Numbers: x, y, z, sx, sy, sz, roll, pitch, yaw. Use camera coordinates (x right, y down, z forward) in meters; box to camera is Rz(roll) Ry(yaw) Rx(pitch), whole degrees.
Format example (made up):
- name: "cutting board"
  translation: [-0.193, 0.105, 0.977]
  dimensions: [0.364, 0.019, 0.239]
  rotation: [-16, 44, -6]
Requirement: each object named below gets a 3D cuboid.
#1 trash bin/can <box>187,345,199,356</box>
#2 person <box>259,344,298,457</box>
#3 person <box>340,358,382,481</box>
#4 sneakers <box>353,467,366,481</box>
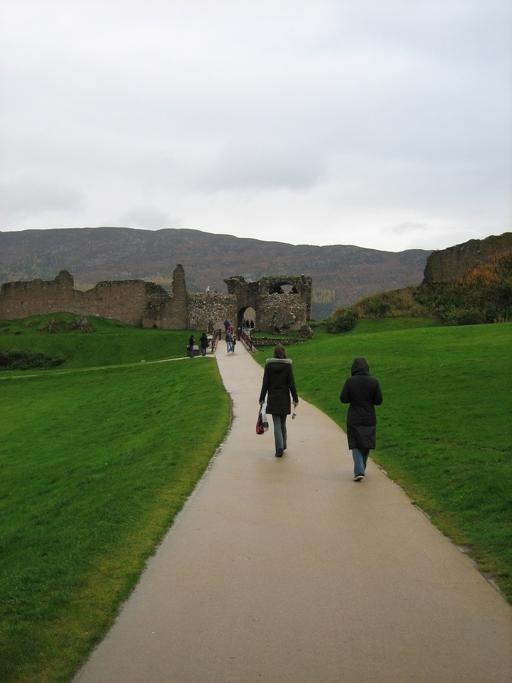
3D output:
- name: "trash bin/can"
  translation: [-4.489, 0.671, 32.701]
  dimensions: [0.627, 0.935, 0.888]
  rotation: [1, 6, 18]
- name: "person"
  translation: [0.442, 1.136, 9.271]
  dimensions: [0.728, 2.135, 0.897]
  rotation: [-3, 2, 1]
- name: "person"
  translation: [1.739, 1.290, 7.783]
  dimensions: [0.653, 1.991, 0.824]
  rotation: [-2, 2, 12]
- name: "sneakers"
  translation: [1.636, 2.175, 7.537]
  dimensions: [0.182, 0.188, 0.230]
  rotation: [-3, 2, 8]
